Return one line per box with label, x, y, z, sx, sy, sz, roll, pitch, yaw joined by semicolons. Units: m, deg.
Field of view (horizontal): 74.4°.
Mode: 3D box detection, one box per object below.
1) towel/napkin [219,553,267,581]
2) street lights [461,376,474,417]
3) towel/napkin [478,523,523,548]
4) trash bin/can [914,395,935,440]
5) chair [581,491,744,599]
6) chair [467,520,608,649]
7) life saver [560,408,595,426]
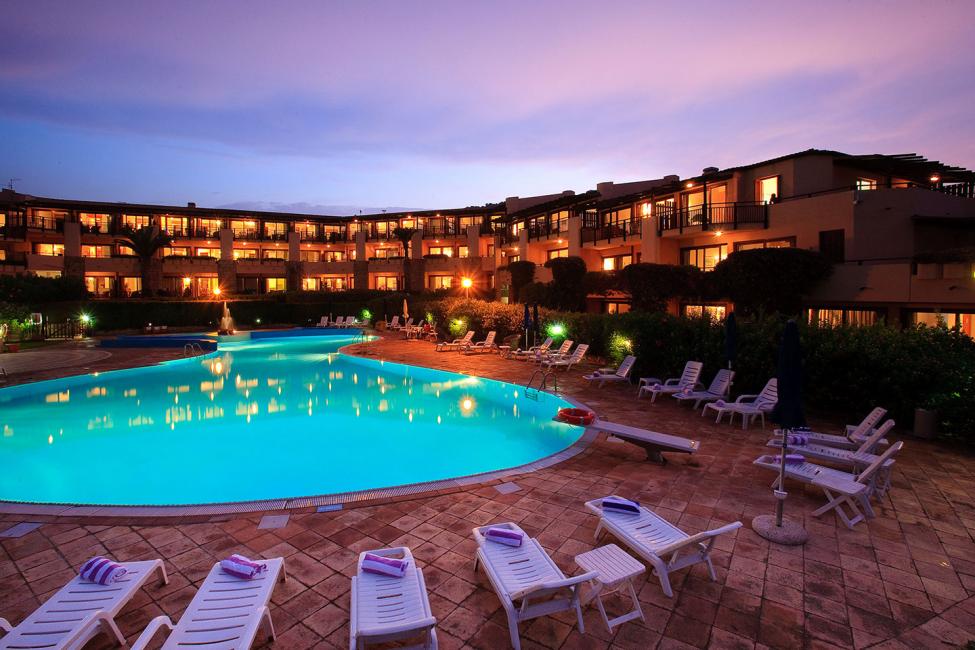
towel/napkin;-6.280;6.148;16.396;0.779;0.250;0.633;8;8;15
street lights;-0.861;3.241;27.001;0.519;0.240;1.365;6;31;-4
towel/napkin;0.421;5.532;16.956;0.700;0.254;0.673;1;-4;12
trash bin/can;14.867;3.164;21.748;0.600;1.255;0.649;2;8;24
chair;4.463;6.159;17.366;1.946;1.817;4.259;-4;15;-33
chair;0.968;6.691;16.622;1.892;1.820;3.562;-1;23;-19
life saver;3.040;3.130;21.806;0.693;0.269;0.710;4;-2;-36
